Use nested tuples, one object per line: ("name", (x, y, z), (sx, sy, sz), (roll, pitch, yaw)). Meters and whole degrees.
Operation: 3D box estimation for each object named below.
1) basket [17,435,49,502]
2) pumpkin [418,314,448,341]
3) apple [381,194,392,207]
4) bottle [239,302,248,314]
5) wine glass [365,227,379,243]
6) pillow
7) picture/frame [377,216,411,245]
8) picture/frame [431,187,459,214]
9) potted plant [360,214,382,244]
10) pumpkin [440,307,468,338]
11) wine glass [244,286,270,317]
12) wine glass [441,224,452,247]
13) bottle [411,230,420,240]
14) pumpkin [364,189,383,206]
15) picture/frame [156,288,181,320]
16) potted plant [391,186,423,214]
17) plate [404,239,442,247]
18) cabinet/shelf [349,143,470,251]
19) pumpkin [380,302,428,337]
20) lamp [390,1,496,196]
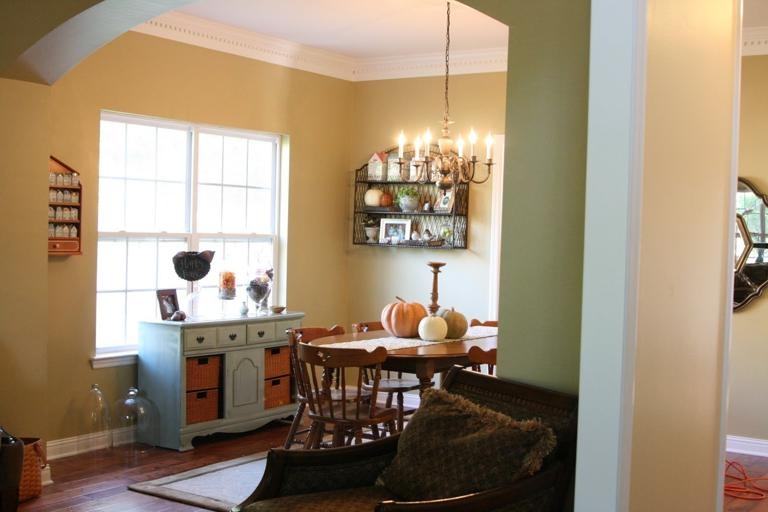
("basket", (-2.470, 1.463, 4.247), (0.129, 0.449, 0.338), (-3, 0, -17))
("pumpkin", (0.380, 0.524, 4.602), (0.181, 0.172, 0.186), (-4, 4, -33))
("apple", (0.029, -0.588, 6.358), (0.121, 0.150, 0.123), (-3, 1, 16))
("bottle", (-1.316, 0.477, 5.573), (0.087, 0.120, 0.088), (-1, -3, 0))
("wine glass", (-0.126, -0.228, 6.500), (0.149, 0.169, 0.161), (0, 1, 1))
("pillow", (0.377, 0.848, 2.648), (0.700, 0.460, 0.292), (-2, 0, 37))
("picture/frame", (0.127, -0.273, 6.393), (0.291, 0.257, 0.024), (2, 0, 23))
("picture/frame", (0.622, -0.554, 6.135), (0.190, 0.266, 0.070), (2, -11, 41))
("potted plant", (-0.117, -0.276, 6.513), (0.258, 0.288, 0.259), (2, 4, 25))
("pumpkin", (0.555, 0.533, 4.815), (0.202, 0.211, 0.205), (-3, -4, 33))
("wine glass", (-1.217, 0.430, 5.805), (0.262, 0.260, 0.266), (0, 3, -17))
("wine glass", (0.646, -0.213, 6.157), (0.118, 0.227, 0.150), (-3, 0, 6))
("bottle", (0.333, -0.217, 6.300), (0.081, 0.110, 0.082), (-1, 8, 0))
("pumpkin", (-0.101, -0.630, 6.435), (0.171, 0.178, 0.173), (3, 9, 25))
("picture/frame", (-1.924, 0.424, 5.351), (0.024, 0.300, 0.251), (-18, -5, 32))
("potted plant", (0.231, -0.589, 6.266), (0.259, 0.264, 0.257), (-5, 7, -40))
("plate", (0.409, -0.131, 6.218), (0.432, 0.085, 0.088), (-2, 1, 35))
("cabinet/shelf", (0.319, -0.605, 6.224), (1.061, 0.992, 0.278), (4, 7, 22))
("pumpkin", (0.171, 0.488, 4.856), (0.294, 0.286, 0.303), (3, 3, 27))
("lamp", (0.547, -1.346, 5.799), (1.050, 1.773, 1.370), (-3, 0, 1))
